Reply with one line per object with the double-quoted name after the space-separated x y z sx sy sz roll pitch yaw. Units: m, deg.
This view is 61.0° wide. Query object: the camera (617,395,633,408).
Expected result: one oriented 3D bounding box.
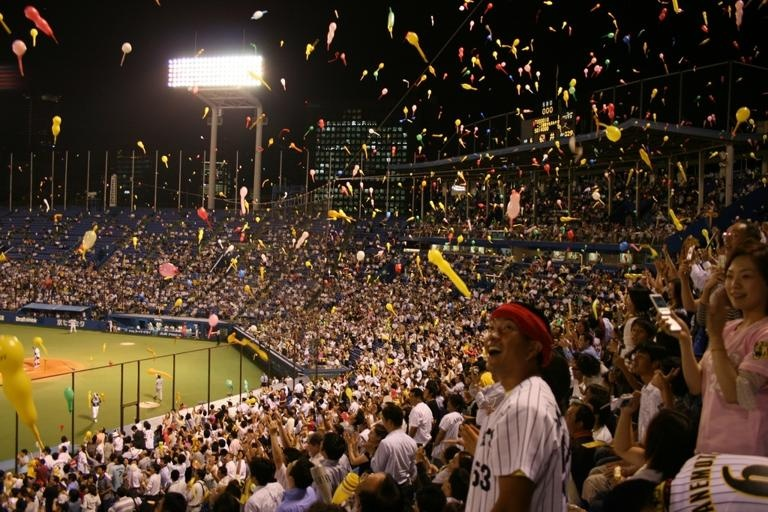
5.671 3.395 15.296 0.343 0.091 0.374 -42 -10 22 "camera"
